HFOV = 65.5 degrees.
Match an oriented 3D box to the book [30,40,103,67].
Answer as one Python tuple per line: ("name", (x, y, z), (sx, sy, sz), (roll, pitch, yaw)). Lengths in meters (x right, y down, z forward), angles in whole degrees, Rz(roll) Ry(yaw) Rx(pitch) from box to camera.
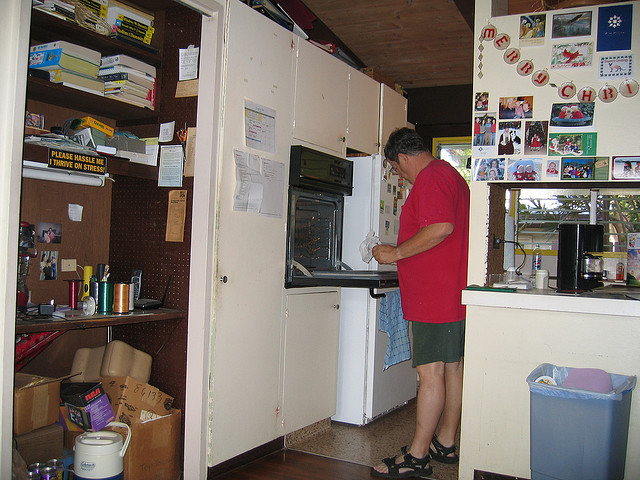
("book", (-1.452, -1.057, 2.808), (0.224, 0.061, 0.249), (1, 4, 28))

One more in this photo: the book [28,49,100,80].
("book", (-1.465, -1.000, 2.796), (0.218, 0.082, 0.238), (11, 8, 25))

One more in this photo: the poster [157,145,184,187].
("poster", (-0.918, -0.458, 3.066), (0.242, 0.348, 0.015), (1, -3, 30))

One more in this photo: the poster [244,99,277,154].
("poster", (-0.384, -0.719, 3.118), (0.019, 0.368, 0.369), (2, 2, 33))

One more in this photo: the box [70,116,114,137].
("box", (-1.351, -0.666, 2.939), (0.197, 0.100, 0.158), (1, 0, 31))

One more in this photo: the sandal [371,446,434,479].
("sandal", (0.512, 1.387, 3.145), (0.379, 0.189, 0.172), (2, -6, 3))

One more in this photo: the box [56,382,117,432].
("box", (-1.316, 0.944, 2.773), (0.165, 0.193, 0.295), (31, -21, -34))

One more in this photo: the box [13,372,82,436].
("box", (-1.397, 0.863, 2.688), (0.375, 0.246, 0.292), (-11, -15, -9))

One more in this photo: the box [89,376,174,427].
("box", (-1.151, 0.987, 2.905), (0.411, 0.254, 0.435), (-16, -38, 30))

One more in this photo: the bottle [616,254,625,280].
("bottle", (2.452, 0.226, 4.054), (0.058, 0.175, 0.147), (1, -1, 32))

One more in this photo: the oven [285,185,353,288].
("oven", (-0.031, -0.009, 3.598), (0.548, 0.654, 0.397), (3, -3, -41))

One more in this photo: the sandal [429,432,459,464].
("sandal", (0.798, 1.382, 3.351), (0.094, 0.110, 0.264), (-3, 10, -32))

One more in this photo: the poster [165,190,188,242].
("poster", (-0.877, -0.162, 3.048), (0.150, 0.313, 0.023), (-2, -9, 24))
